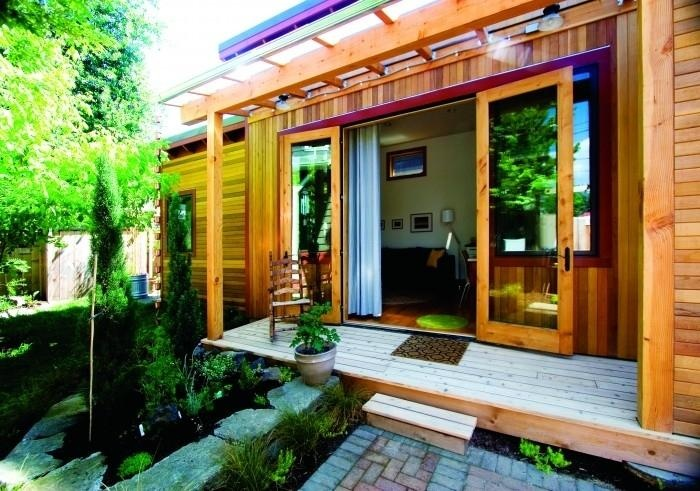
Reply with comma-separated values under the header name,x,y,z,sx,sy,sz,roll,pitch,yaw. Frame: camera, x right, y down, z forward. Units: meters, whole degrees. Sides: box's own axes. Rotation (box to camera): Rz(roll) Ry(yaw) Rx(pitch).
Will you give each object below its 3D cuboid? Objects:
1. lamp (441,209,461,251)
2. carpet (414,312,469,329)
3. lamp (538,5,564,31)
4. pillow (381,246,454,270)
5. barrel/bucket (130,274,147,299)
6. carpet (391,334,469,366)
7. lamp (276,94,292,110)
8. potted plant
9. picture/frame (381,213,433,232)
name,x,y,z,sx,sy,sz,roll,pitch,yaw
lamp,2.047,-0.322,9.510,0.383,0.829,0.227,-2,-1,20
carpet,1.331,1.101,6.743,0.703,0.109,0.857,-2,0,6
lamp,2.327,-2.625,5.409,0.243,0.325,0.424,-3,0,27
pillow,1.169,0.254,9.524,1.094,0.397,0.343,-2,-1,15
barrel/bucket,-4.817,0.917,10.705,0.330,0.391,0.700,-2,0,-21
carpet,1.029,1.288,5.879,0.832,0.297,0.823,-3,0,24
lamp,-1.007,-2.148,7.059,0.189,0.266,0.194,2,3,43
potted plant,-0.400,1.136,5.356,0.451,0.835,0.530,4,5,-7
picture/frame,1.324,-0.482,10.066,0.992,0.384,0.026,-3,-1,34
